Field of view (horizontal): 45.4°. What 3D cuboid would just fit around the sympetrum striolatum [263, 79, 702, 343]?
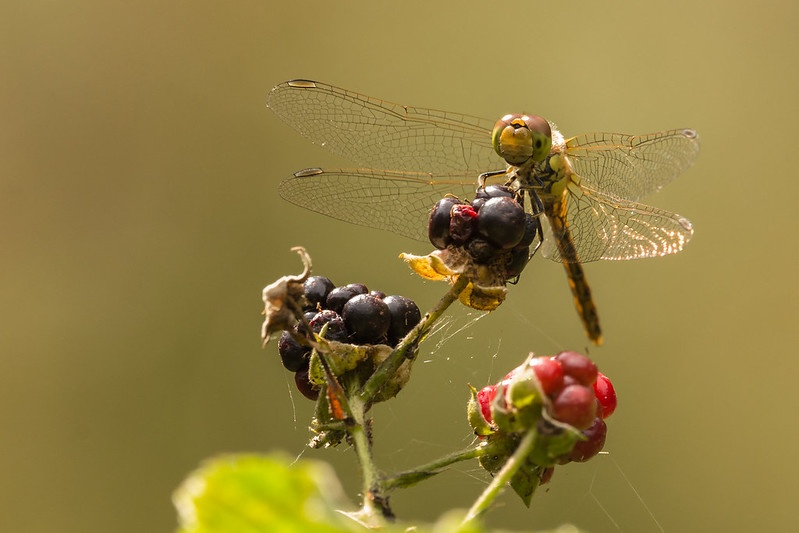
[{"bbox_3d":[0.170,-0.175,1.670,0.847,0.505,0.411,3,27,0],"label":"sympetrum striolatum"}]

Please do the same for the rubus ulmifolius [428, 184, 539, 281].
[{"bbox_3d":[0.128,-0.034,1.516,0.154,0.121,0.213,-3,-46,25],"label":"rubus ulmifolius"}]
